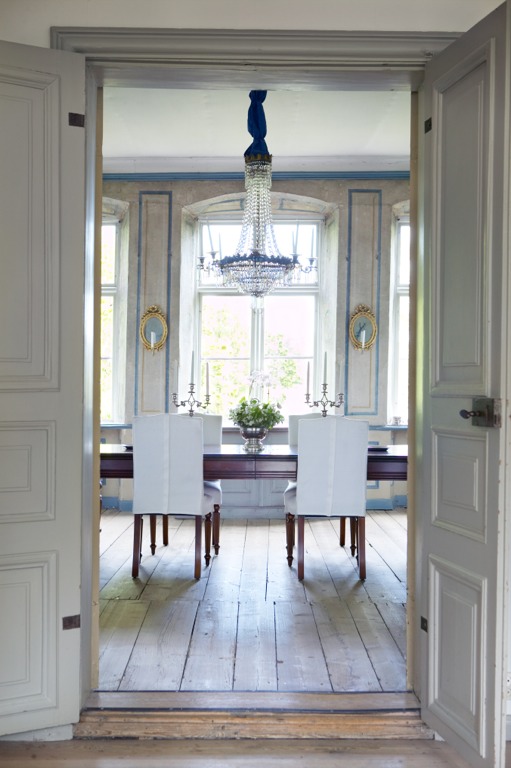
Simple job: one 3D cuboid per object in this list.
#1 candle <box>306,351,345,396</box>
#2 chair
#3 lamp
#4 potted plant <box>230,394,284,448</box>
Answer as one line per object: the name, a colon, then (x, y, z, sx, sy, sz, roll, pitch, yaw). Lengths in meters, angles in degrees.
candle: (0.579, -0.078, 5.564, 0.312, 0.487, 0.074, 1, -4, -12)
chair: (-0.036, 0.635, 3.855, 1.326, 0.935, 0.538, 1, 1, 4)
lamp: (0.022, -1.276, 4.214, 0.651, 1.559, 0.684, 1, 3, 1)
potted plant: (0.048, 0.263, 4.198, 0.173, 0.262, 0.224, 5, 7, 11)
